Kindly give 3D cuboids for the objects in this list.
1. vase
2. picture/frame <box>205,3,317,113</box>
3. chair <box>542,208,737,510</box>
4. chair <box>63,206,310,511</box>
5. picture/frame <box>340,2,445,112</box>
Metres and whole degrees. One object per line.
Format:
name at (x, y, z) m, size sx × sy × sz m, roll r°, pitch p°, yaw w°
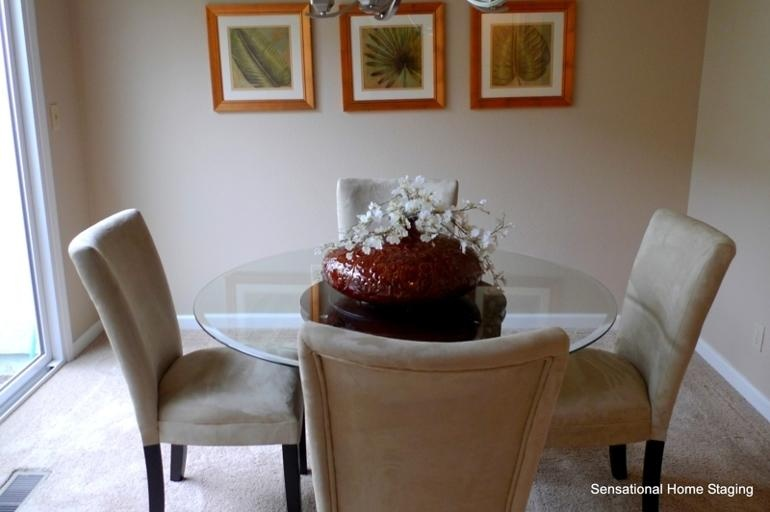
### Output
vase at (0.115, 0.033, 2.996) m, size 0.698 × 0.361 × 0.776 m, roll -3°, pitch 8°, yaw 4°
picture/frame at (-0.818, -1.359, 4.207) m, size 0.673 × 0.699 × 0.053 m, roll 0°, pitch 14°, yaw 4°
chair at (1.147, 0.434, 2.876) m, size 0.857 × 1.135 × 0.548 m, roll -17°, pitch 26°, yaw -39°
chair at (-1.140, 0.270, 3.643) m, size 1.352 × 2.215 × 1.112 m, roll 0°, pitch 17°, yaw -4°
picture/frame at (0.062, -1.331, 4.116) m, size 0.661 × 0.713 × 0.050 m, roll -1°, pitch 13°, yaw 3°
